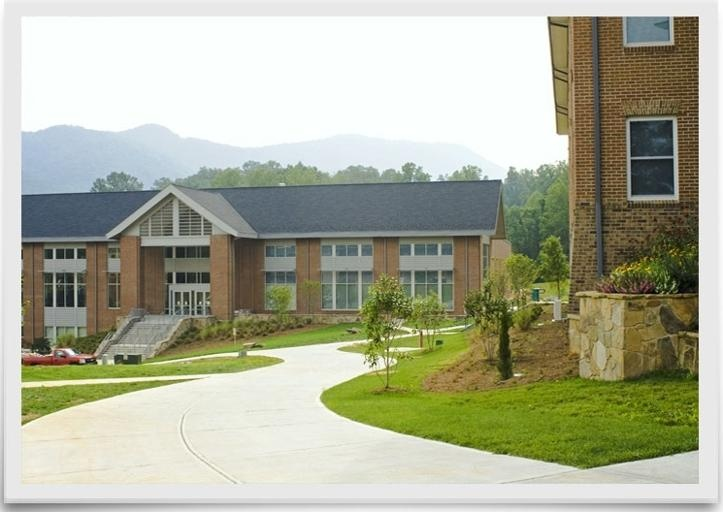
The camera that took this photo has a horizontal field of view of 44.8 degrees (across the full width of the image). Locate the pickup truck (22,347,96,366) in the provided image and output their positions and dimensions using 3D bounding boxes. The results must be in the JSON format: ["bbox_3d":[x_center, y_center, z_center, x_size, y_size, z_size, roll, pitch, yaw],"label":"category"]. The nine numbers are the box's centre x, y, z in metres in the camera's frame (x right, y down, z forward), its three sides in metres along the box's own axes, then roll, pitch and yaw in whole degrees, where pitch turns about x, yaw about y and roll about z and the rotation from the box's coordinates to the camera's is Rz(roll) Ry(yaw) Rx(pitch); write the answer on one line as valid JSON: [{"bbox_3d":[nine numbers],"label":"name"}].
[{"bbox_3d":[-13.981,4.598,39.362,2.917,0.933,1.589,-1,-6,3],"label":"pickup truck"}]
